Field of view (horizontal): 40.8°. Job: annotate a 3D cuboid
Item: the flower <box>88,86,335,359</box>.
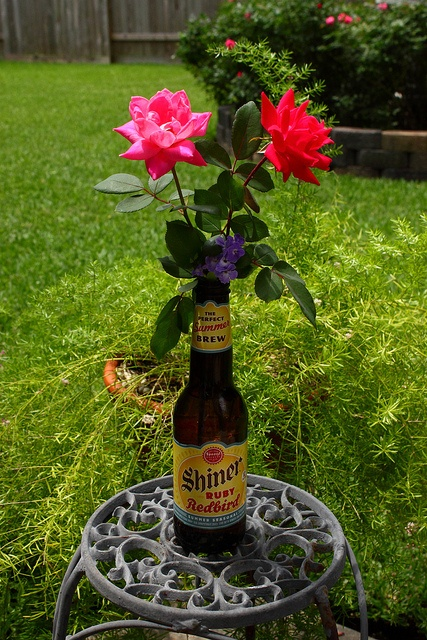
[{"bbox_3d":[0.004,-0.102,0.704,0.258,0.333,0.231,3,22,9],"label":"flower"}]
